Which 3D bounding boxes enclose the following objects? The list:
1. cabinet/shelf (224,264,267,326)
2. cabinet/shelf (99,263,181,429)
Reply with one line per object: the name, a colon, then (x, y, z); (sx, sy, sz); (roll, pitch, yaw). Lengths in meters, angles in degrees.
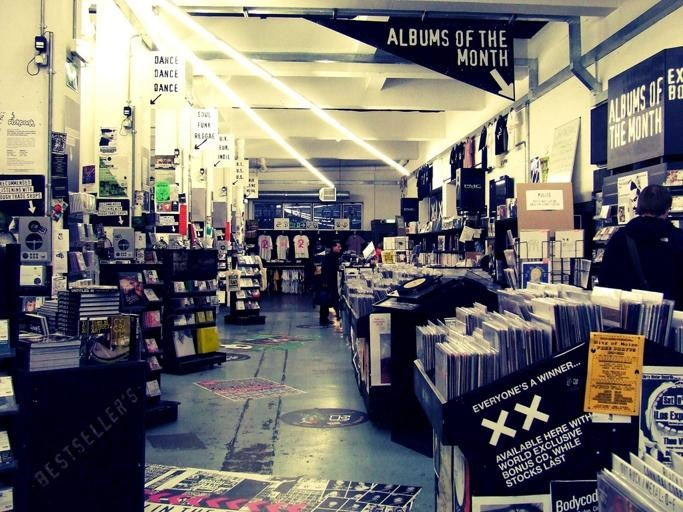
cabinet/shelf: (-2.104, 0.740, 13.025); (0.697, 1.410, 0.777); (0, -1, 38)
cabinet/shelf: (-2.176, 0.809, 5.966); (0.505, 1.440, 0.698); (3, -2, -25)
